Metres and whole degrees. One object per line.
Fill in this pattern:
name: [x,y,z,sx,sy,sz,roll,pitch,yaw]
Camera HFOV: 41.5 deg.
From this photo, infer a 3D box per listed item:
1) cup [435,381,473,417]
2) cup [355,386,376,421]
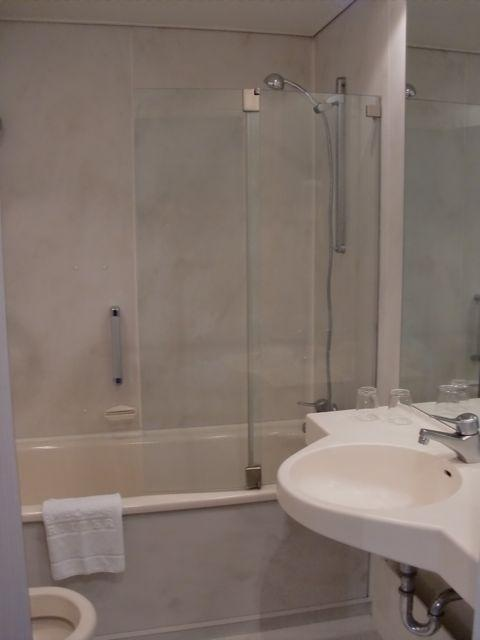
cup: [0.579,0.210,1.727,0.083,0.099,0.057,0,1,8]
cup: [0.396,0.266,1.961,0.066,0.126,0.075,2,-3,17]
